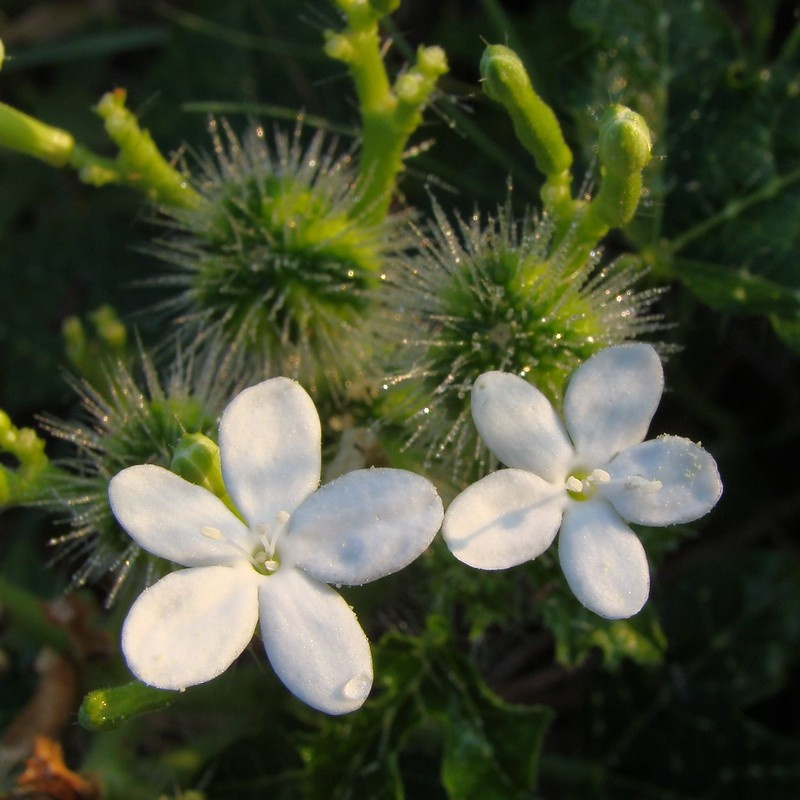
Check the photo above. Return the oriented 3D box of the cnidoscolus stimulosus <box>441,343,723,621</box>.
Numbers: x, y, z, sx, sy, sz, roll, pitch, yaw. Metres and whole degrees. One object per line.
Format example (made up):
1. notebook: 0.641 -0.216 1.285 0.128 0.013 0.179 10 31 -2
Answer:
1. cnidoscolus stimulosus: 0.213 0.086 1.162 0.294 0.122 0.343 22 58 30

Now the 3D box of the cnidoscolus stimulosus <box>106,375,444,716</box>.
1. cnidoscolus stimulosus: -0.132 0.177 1.134 0.359 0.139 0.418 -13 58 -20
